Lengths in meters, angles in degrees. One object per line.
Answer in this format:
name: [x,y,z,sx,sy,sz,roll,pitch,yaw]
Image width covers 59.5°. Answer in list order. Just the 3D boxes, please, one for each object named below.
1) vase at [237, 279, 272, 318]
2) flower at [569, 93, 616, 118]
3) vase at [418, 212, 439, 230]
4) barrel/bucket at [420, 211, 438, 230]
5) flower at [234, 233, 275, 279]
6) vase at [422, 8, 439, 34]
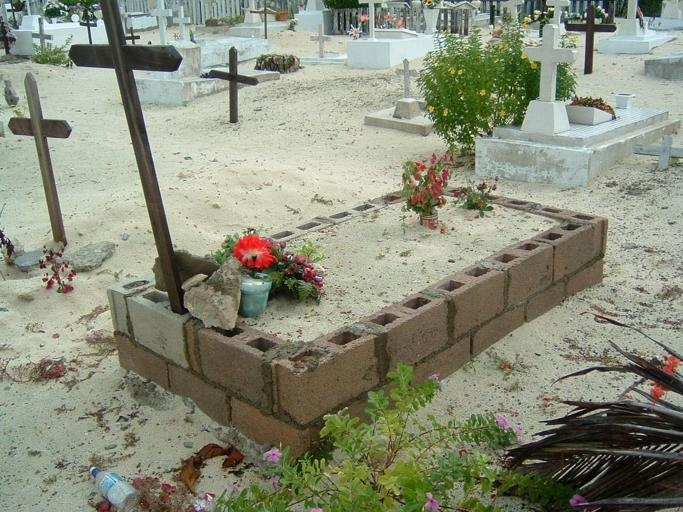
vase: [-0.693,0.301,4.339,0.326,0.223,0.313,6,5,13]
flower: [3.809,-2.381,9.366,0.778,0.237,0.760,-17,26,-37]
vase: [0.877,-0.338,5.759,0.204,0.113,0.202,16,25,41]
barrel/bucket: [0.842,-0.337,5.737,0.222,0.109,0.179,2,19,9]
flower: [-0.641,-0.018,4.338,0.388,0.261,0.128,-2,-4,-8]
vase: [2.986,-7.836,19.918,0.468,0.830,0.885,-1,23,8]
